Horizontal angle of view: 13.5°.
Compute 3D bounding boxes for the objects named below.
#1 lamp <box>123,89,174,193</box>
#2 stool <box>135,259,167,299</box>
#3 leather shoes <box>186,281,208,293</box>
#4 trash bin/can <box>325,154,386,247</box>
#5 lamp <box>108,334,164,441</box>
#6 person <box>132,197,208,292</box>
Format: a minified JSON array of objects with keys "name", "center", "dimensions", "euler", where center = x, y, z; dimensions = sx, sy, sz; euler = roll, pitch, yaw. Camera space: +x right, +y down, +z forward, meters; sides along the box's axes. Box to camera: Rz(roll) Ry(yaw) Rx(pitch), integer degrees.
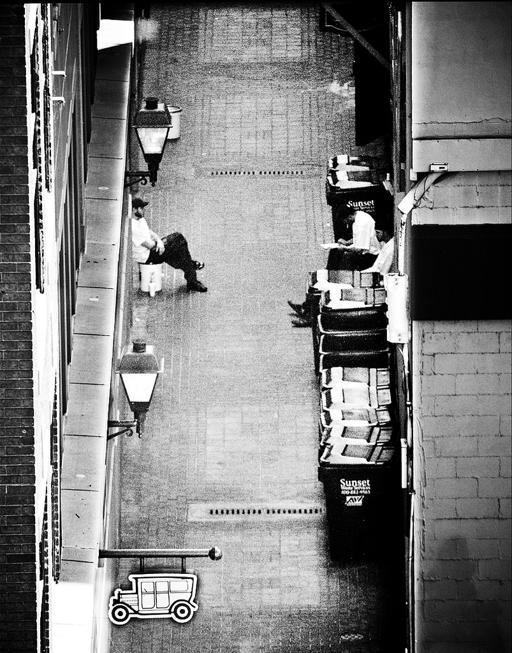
[{"name":"lamp","center":[-1.154,-1.977,22.968],"dimensions":[0.560,1.104,0.454],"euler":[-1,28,2]},{"name":"stool","center":[-1.218,-0.572,25.433],"dimensions":[0.242,0.357,0.346],"euler":[0,7,-2]},{"name":"leather shoes","center":[-0.680,-0.486,25.412],"dimensions":[0.217,0.132,0.120],"euler":[0,22,-5]},{"name":"trash bin/can","center":[1.235,-1.197,26.839],"dimensions":[0.661,1.271,1.336],"euler":[-3,26,1]},{"name":"lamp","center":[-1.159,0.516,20.060],"dimensions":[0.510,1.247,0.582],"euler":[-7,37,-12]},{"name":"person","center":[-1.050,-0.919,24.986],"dimensions":[0.911,1.401,0.681],"euler":[-7,45,-5]}]
